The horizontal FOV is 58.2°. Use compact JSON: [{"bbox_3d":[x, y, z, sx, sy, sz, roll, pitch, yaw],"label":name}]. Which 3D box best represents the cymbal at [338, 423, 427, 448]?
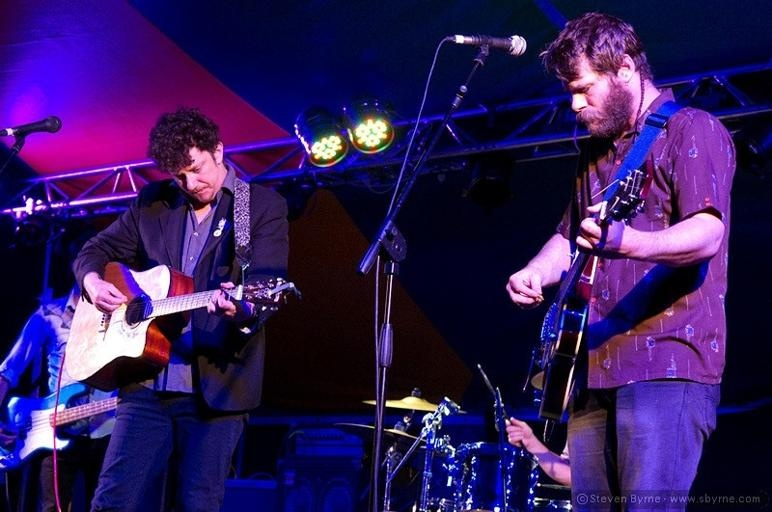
[{"bbox_3d":[-0.049,1.594,6.190,0.614,0.108,0.664,-11,-37,37],"label":"cymbal"}]

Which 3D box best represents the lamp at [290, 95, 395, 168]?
[{"bbox_3d":[-0.507,-1.155,6.891,0.728,0.732,0.295,11,-57,36],"label":"lamp"}]

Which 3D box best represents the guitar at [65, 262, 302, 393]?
[{"bbox_3d":[-1.258,0.339,4.252,1.434,0.766,0.206,-13,-34,17],"label":"guitar"}]
